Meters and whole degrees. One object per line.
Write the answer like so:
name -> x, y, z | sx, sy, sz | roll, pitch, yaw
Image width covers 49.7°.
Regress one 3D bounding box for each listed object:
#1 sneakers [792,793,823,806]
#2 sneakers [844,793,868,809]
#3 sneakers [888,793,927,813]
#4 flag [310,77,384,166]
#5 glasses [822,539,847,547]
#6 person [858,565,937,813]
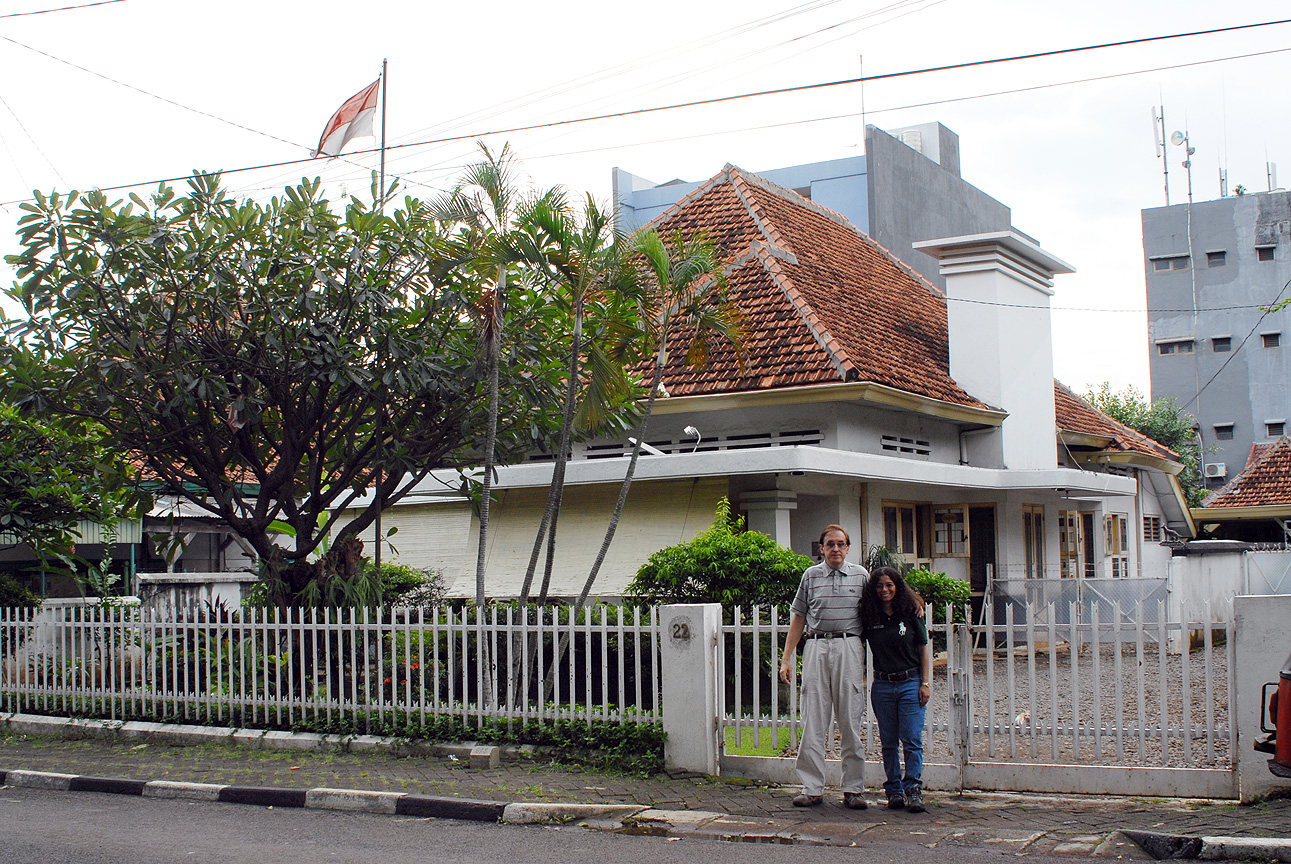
sneakers -> 1.841, 4.148, 15.879 | 0.341, 0.149, 0.128 | 5, -8, -8
sneakers -> 2.365, 4.141, 15.753 | 0.114, 0.131, 0.291 | 2, -14, -6
sneakers -> 2.929, 4.111, 15.522 | 0.164, 0.211, 0.476 | 3, -14, -27
flag -> -5.214, -5.486, 24.539 | 0.876, 1.566, 1.650 | 7, -13, -23
glasses -> 2.161, 1.258, 15.888 | 0.235, 0.097, 0.157 | 2, -12, -2
person -> 2.812, 2.868, 15.784 | 0.772, 2.679, 0.467 | 1, -11, 5
